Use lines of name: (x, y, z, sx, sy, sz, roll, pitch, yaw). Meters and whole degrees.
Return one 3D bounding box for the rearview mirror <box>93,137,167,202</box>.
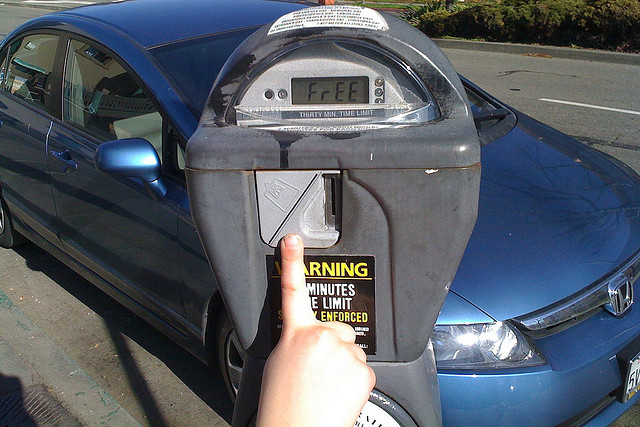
rearview mirror: (-0.970, -0.200, 2.724, 0.325, 0.306, 0.205, -7, -7, -9)
